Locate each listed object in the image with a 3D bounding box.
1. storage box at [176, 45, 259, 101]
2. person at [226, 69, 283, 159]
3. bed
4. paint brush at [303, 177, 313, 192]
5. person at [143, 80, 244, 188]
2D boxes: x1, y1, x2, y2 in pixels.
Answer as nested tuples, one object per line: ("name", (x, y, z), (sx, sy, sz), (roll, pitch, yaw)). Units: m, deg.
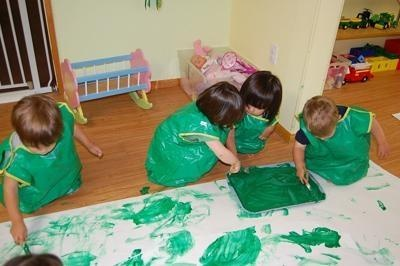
("storage box", (0.128, -0.598, 2.578), (0.450, 0.370, 0.708), (-19, 43, -25))
("person", (0.409, -0.084, 2.206), (0.352, 0.838, 0.308), (16, 46, 15))
("bed", (-0.837, -0.279, 2.639), (0.766, 0.564, 0.733), (-14, 51, -23))
("paint brush", (0.734, 0.355, 1.942), (0.021, 0.032, 0.096), (-23, 47, 4))
("person", (-0.032, -0.027, 2.018), (0.662, 0.718, 0.570), (7, 30, 7))
